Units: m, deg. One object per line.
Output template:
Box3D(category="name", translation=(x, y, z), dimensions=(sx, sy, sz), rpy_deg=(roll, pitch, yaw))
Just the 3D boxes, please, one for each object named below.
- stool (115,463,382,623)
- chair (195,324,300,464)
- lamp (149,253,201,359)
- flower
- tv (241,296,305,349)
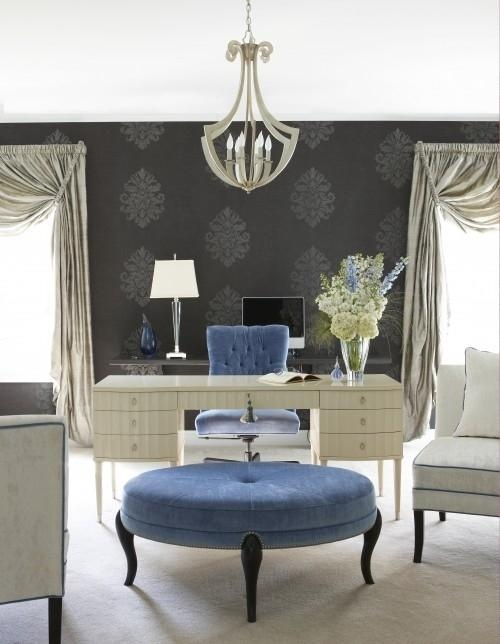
Box3D(category="stool", translation=(-0.012, 0.779, 2.457), dimensions=(0.978, 0.402, 0.580), rpy_deg=(0, 2, 11))
Box3D(category="chair", translation=(-0.015, 0.448, 3.987), dimensions=(0.597, 1.252, 0.720), rpy_deg=(0, -10, -2))
Box3D(category="lamp", translation=(-0.539, -0.119, 4.737), dimensions=(0.310, 0.744, 0.568), rpy_deg=(-1, 2, -9))
Box3D(category="flower", translation=(0.596, -0.132, 3.534), dimensions=(0.476, 0.712, 0.543), rpy_deg=(0, 5, -7))
Box3D(category="tv", translation=(0.183, -0.024, 4.836), dimensions=(0.354, 0.388, 0.368), rpy_deg=(0, -2, 0))
